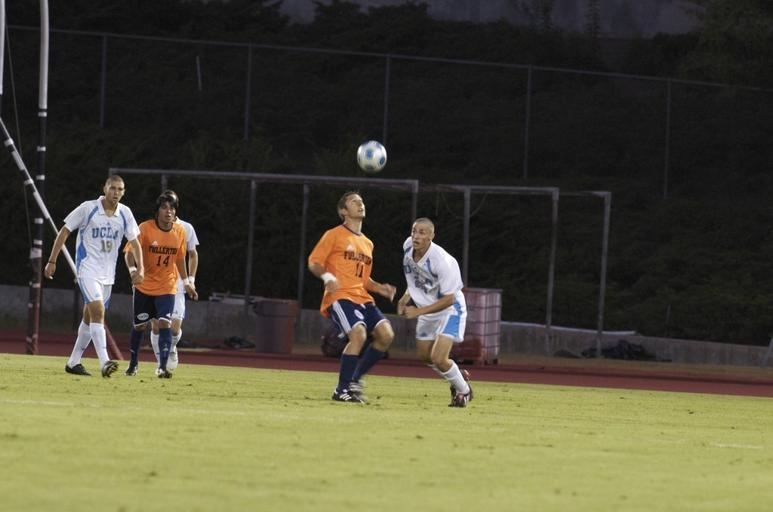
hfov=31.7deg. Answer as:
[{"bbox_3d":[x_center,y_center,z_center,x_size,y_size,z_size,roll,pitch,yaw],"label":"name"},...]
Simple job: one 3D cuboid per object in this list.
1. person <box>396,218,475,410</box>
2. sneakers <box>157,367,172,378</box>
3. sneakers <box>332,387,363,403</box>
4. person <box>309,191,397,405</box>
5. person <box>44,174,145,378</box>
[{"bbox_3d":[0.834,0.943,22.299,1.242,3.074,1.102,3,-3,3],"label":"person"},{"bbox_3d":[-3.847,2.044,23.525,0.254,0.170,0.121,1,5,-33],"label":"sneakers"},{"bbox_3d":[-0.643,2.338,22.435,0.540,0.206,0.188,1,-1,7],"label":"sneakers"},{"bbox_3d":[-0.594,0.681,22.197,1.245,3.460,0.687,5,-3,-32],"label":"person"},{"bbox_3d":[-4.911,0.306,22.866,1.457,3.485,1.070,1,-4,34],"label":"person"}]
